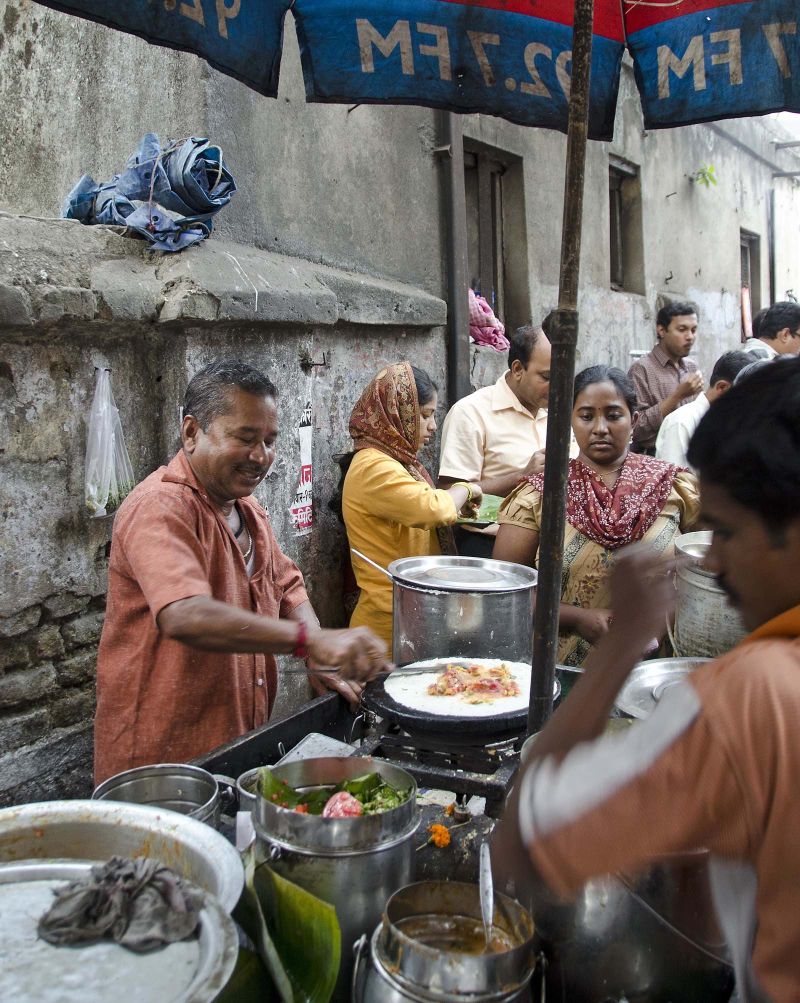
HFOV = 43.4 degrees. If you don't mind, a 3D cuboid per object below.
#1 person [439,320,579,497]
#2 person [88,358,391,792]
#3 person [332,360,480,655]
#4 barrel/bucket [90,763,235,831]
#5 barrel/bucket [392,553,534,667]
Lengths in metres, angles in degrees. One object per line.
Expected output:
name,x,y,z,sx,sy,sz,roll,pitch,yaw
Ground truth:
person,0.520,-0.497,4.932,0.496,0.940,0.533,8,16,28
person,-0.477,0.465,2.655,0.531,1.565,0.715,4,7,-19
person,0.057,-0.048,4.394,0.505,1.229,0.524,-4,22,-44
barrel/bucket,-0.439,0.584,1.985,0.289,0.100,0.215,2,5,32
barrel/bucket,0.151,0.259,2.666,0.317,0.298,0.416,6,11,26
